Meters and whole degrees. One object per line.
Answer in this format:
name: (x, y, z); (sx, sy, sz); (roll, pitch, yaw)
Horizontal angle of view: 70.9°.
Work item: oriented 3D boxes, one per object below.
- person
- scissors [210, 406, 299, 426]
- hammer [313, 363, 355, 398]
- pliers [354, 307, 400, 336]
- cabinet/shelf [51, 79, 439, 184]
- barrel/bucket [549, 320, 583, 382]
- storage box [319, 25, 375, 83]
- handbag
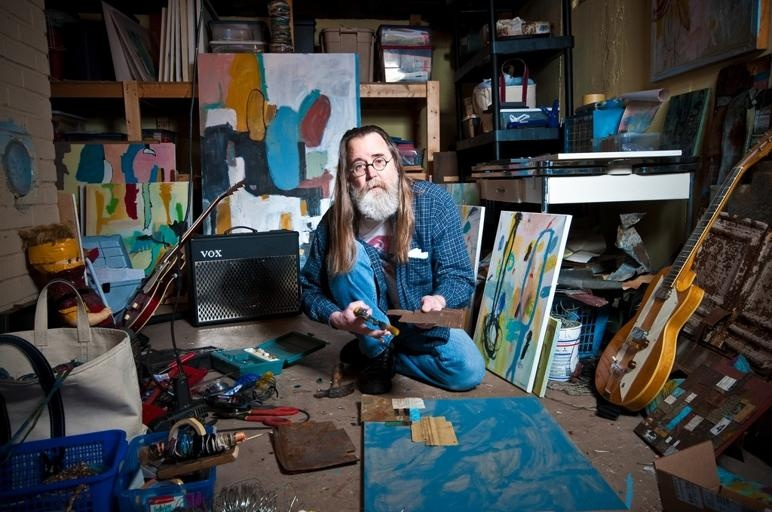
person: (0.022, 0.069, 3.279); (0.873, 1.548, 0.922); (0, 3, -1)
scissors: (-0.675, 0.809, 2.759); (0.413, 0.035, 0.143); (-2, 6, -6)
hammer: (-0.255, 0.697, 3.034); (0.119, 0.055, 0.212); (6, 15, 3)
pliers: (-0.052, 0.336, 2.763); (0.085, 0.071, 0.295); (-25, 35, -37)
cabinet/shelf: (-1.222, -1.028, 4.470); (3.055, 0.788, 0.976); (2, 10, -12)
barrel/bucket: (0.952, 0.516, 3.064); (0.244, 0.323, 0.232); (0, 5, 0)
storage box: (-0.361, -1.880, 5.081); (0.492, 0.522, 0.427); (12, 11, -8)
handbag: (-1.472, 0.492, 2.513); (0.669, 0.627, 0.363); (-1, -6, -11)
